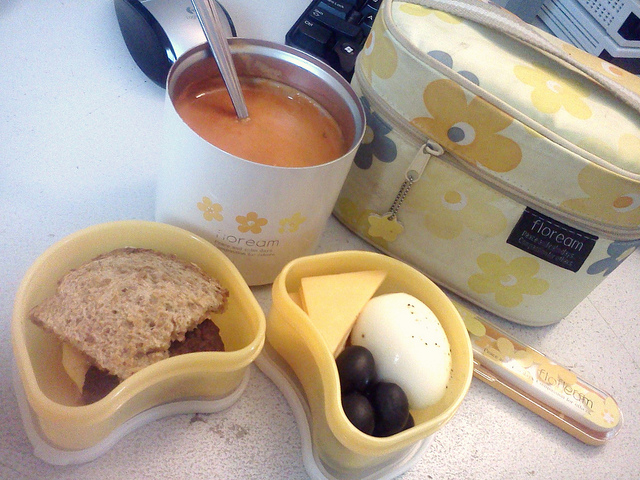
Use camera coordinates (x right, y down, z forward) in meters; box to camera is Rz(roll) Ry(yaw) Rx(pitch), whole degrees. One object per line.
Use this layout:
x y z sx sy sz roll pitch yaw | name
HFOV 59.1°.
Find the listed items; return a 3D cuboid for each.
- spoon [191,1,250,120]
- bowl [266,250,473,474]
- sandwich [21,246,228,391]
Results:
-0.105 -0.194 0.610 0.064 0.105 0.058 1 48 -13 | spoon
0.024 0.131 0.653 0.196 0.097 0.242 -20 65 -36 | bowl
-0.191 0.062 0.567 0.136 0.043 0.164 37 51 17 | sandwich
